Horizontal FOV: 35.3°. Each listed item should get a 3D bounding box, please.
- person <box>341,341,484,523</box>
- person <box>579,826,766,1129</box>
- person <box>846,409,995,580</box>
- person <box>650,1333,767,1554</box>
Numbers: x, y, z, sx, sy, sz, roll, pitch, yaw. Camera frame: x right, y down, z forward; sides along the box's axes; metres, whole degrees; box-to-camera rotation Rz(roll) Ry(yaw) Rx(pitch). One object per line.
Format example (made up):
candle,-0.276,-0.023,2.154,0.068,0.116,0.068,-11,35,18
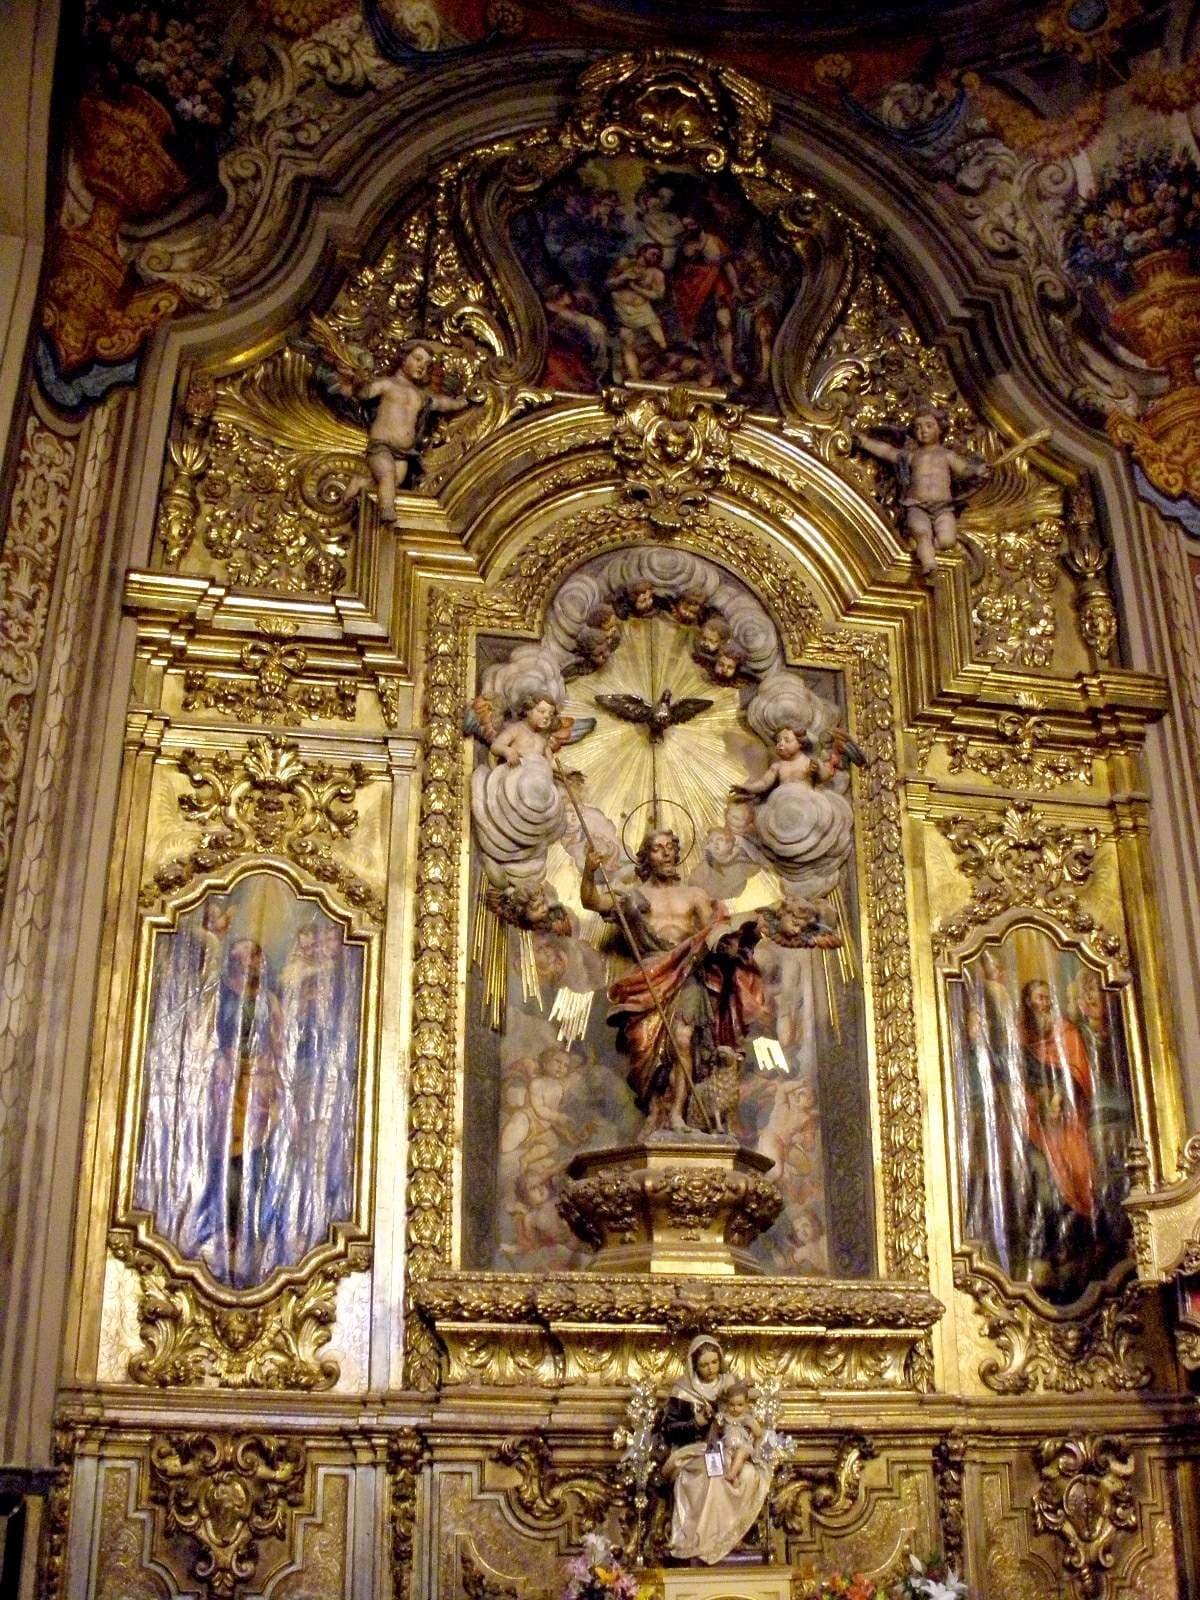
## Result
person,-0.856,-1.620,8.451,0.483,0.997,0.165,16,-30,-30
person,0.289,0.736,7.574,0.761,1.312,0.486,-8,-27,16
person,1.550,-1.474,9.050,0.649,0.818,0.267,-2,-12,6
person,0.365,2.123,6.151,0.363,0.739,0.397,-1,-26,2
